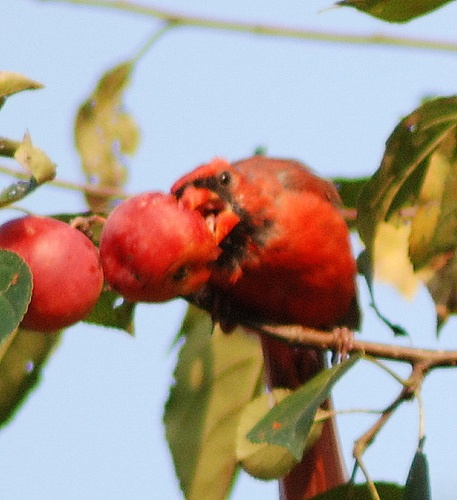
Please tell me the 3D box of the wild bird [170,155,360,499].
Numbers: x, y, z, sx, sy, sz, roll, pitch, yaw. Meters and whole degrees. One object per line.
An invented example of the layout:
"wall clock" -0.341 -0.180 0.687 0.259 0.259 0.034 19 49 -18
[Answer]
"wild bird" 0.077 0.189 1.664 0.283 0.720 0.535 6 14 13
